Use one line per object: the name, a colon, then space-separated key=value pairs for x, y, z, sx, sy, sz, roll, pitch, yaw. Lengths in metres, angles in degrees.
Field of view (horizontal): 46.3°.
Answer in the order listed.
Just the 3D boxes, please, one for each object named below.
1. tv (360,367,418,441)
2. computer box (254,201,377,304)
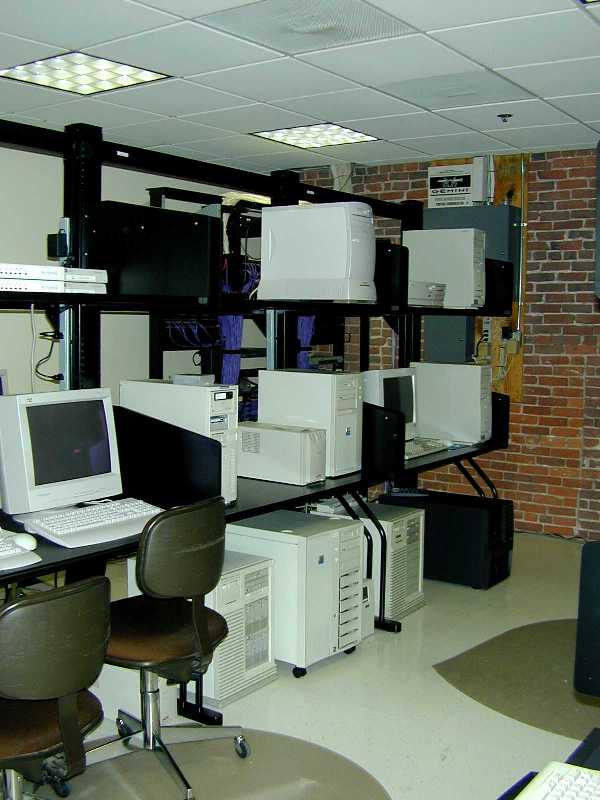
tv: x=0.432 y=0.016 z=3.473 sx=0.219 sy=0.373 sz=0.404 roll=0 pitch=2 yaw=25
computer box: x=0.090 y=-0.669 z=3.223 sx=0.476 sy=0.416 sz=0.294 roll=4 pitch=8 yaw=29
